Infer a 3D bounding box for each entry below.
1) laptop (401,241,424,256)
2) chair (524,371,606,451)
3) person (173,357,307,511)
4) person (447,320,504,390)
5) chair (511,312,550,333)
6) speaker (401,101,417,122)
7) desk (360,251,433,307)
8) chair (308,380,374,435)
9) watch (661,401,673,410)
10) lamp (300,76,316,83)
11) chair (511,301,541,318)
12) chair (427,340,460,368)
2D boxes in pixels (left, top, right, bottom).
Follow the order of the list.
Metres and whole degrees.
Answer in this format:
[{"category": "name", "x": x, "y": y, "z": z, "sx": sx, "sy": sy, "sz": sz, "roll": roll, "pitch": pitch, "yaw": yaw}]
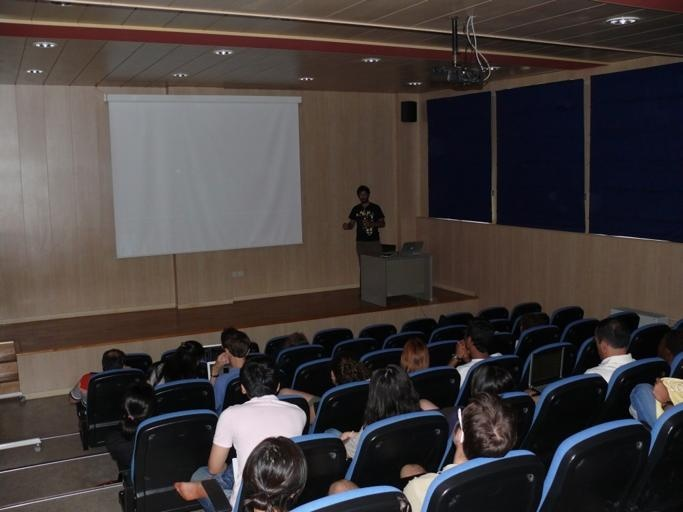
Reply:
[{"category": "laptop", "x": 1.145, "y": -0.167, "z": 8.625, "sx": 0.323, "sy": 0.213, "sz": 0.243, "roll": -8, "pitch": 27, "yaw": -22}, {"category": "chair", "x": 1.343, "y": 0.946, "z": 3.055, "sx": 0.355, "sy": 0.567, "sz": 0.319, "roll": -7, "pitch": 22, "yaw": -16}, {"category": "person", "x": -0.538, "y": 1.056, "z": 3.238, "sx": 0.772, "sy": 1.057, "sz": 0.755, "roll": -2, "pitch": 10, "yaw": -26}, {"category": "person", "x": 1.082, "y": 0.814, "z": 4.144, "sx": 0.325, "sy": 0.771, "sz": 0.388, "roll": -3, "pitch": 28, "yaw": -5}, {"category": "chair", "x": 1.998, "y": 0.719, "z": 5.422, "sx": 0.223, "sy": 0.299, "sz": 0.314, "roll": -2, "pitch": 10, "yaw": -10}, {"category": "speaker", "x": 1.373, "y": -2.982, "z": 10.703, "sx": 0.364, "sy": 0.450, "sz": 0.383, "roll": -1, "pitch": 4, "yaw": 1}, {"category": "desk", "x": 0.935, "y": 0.304, "z": 8.949, "sx": 1.108, "sy": 0.932, "sz": 0.901, "roll": -3, "pitch": 5, "yaw": -31}, {"category": "chair", "x": 0.000, "y": 0.976, "z": 3.554, "sx": 0.325, "sy": 0.500, "sz": 0.397, "roll": -5, "pitch": 19, "yaw": -23}, {"category": "watch", "x": 1.928, "y": 0.889, "z": 3.028, "sx": 0.064, "sy": 0.039, "sz": 0.085, "roll": -12, "pitch": -6, "yaw": 37}, {"category": "lamp", "x": -0.552, "y": -2.906, "z": 8.402, "sx": 0.217, "sy": 0.094, "sz": 0.073, "roll": 8, "pitch": 45, "yaw": -18}, {"category": "chair", "x": 2.401, "y": 0.705, "z": 6.626, "sx": 0.281, "sy": 0.304, "sz": 0.256, "roll": -4, "pitch": 11, "yaw": -17}, {"category": "chair", "x": 0.979, "y": 0.951, "z": 4.999, "sx": 0.239, "sy": 0.370, "sz": 0.288, "roll": -1, "pitch": 7, "yaw": -16}]
